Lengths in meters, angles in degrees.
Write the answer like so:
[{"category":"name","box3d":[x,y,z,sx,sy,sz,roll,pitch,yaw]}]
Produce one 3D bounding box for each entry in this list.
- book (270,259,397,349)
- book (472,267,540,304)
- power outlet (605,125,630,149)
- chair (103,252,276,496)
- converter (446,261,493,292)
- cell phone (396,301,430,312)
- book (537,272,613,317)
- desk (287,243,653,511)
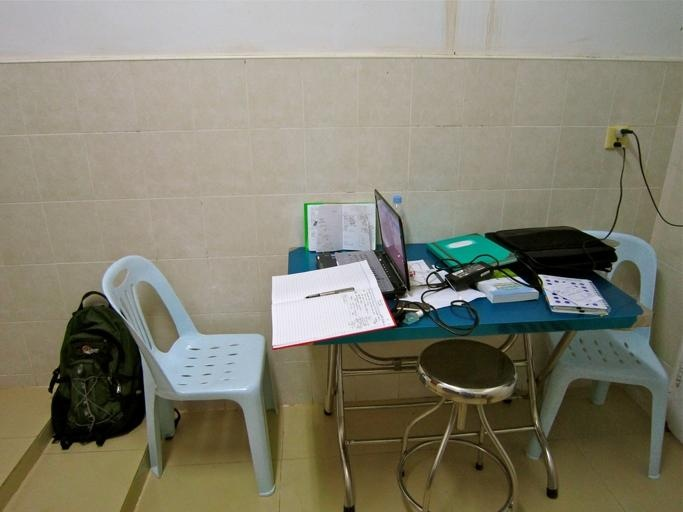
[{"category":"book","box3d":[-0.044,0.202,2.172,0.362,0.060,0.415,-9,27,-7]},{"category":"book","box3d":[0.703,0.130,2.301,0.213,0.051,0.232,-13,28,-17]},{"category":"power outlet","box3d":[1.398,-0.595,2.672,0.106,0.109,0.025,3,7,5]},{"category":"chair","box3d":[-0.694,0.510,2.606,0.720,1.054,0.684,-2,27,3]},{"category":"converter","box3d":[0.565,0.074,2.335,0.181,0.062,0.106,-24,33,1]},{"category":"cell phone","box3d":[0.292,0.202,2.169,0.090,0.023,0.052,-1,23,0]},{"category":"book","box3d":[0.977,0.156,2.242,0.252,0.059,0.243,0,27,7]},{"category":"desk","box3d":[0.564,0.872,2.929,1.859,1.217,1.093,-4,35,-4]}]
